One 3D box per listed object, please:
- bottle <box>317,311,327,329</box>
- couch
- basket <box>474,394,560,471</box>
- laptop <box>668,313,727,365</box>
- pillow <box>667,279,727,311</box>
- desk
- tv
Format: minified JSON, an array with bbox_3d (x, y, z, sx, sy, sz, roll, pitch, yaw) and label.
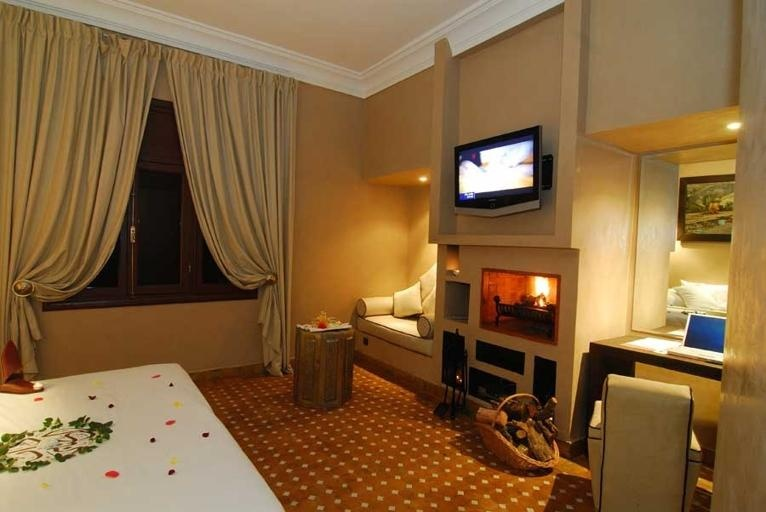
[{"bbox_3d":[-0.645,0.698,5.766,0.140,0.221,0.152,-1,0,0],"label":"bottle"},{"bbox_3d":[0.136,1.080,6.558,0.755,0.672,1.326,0,3,-31],"label":"couch"},{"bbox_3d":[1.177,1.595,4.952,0.564,0.551,0.759,4,-6,-32],"label":"basket"},{"bbox_3d":[2.703,0.714,4.564,0.453,0.320,0.504,-7,5,-36],"label":"laptop"},{"bbox_3d":[2.897,0.368,4.933,0.114,0.276,0.460,-2,4,-38],"label":"pillow"},{"bbox_3d":[2.183,1.121,4.277,0.613,1.057,1.058,9,-5,-43],"label":"desk"},{"bbox_3d":[1.164,-0.830,5.278,0.078,0.784,0.990,-2,1,-39],"label":"tv"}]
